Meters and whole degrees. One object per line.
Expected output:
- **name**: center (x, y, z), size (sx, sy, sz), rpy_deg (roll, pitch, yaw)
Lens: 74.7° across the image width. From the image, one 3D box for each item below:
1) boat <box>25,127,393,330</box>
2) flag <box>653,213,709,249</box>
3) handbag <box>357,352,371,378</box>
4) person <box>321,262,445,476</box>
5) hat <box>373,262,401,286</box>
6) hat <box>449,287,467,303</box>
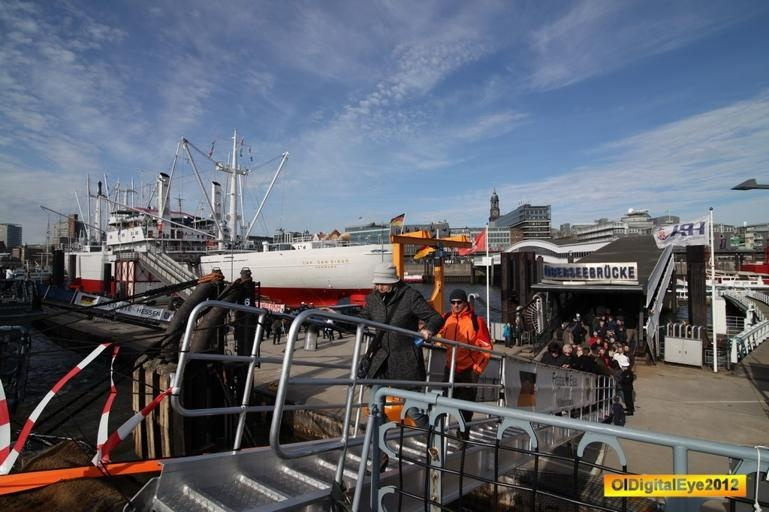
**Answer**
- **boat**: center (-10.426, -0.020, 34.451), size (33.904, 13.297, 9.856), rpy_deg (2, 1, 25)
- **flag**: center (11.025, -0.890, 18.541), size (1.722, 1.086, 1.807), rpy_deg (1, 0, 30)
- **handbag**: center (-0.320, 1.560, 7.226), size (0.135, 0.361, 0.297), rpy_deg (1, 0, -30)
- **person**: center (0.212, 1.441, 7.059), size (1.156, 2.837, 1.231), rpy_deg (1, 0, -3)
- **hat**: center (0.003, 0.270, 7.284), size (0.329, 0.194, 0.337), rpy_deg (-5, -6, 20)
- **hat**: center (1.160, 0.645, 8.246), size (0.236, 0.234, 0.320), rpy_deg (-9, -27, 36)
